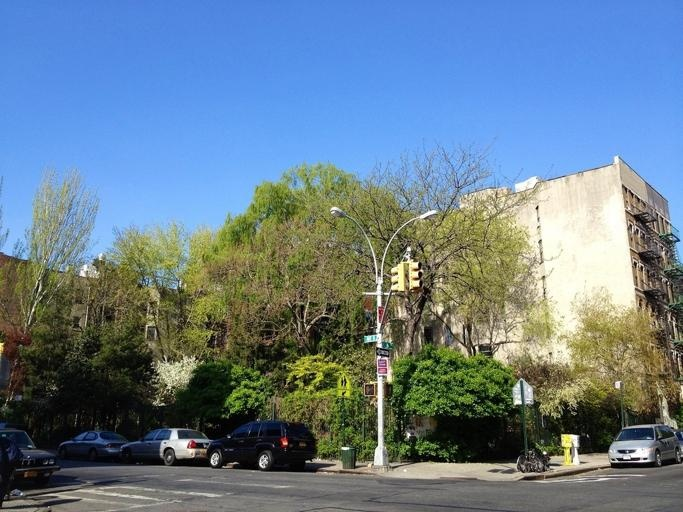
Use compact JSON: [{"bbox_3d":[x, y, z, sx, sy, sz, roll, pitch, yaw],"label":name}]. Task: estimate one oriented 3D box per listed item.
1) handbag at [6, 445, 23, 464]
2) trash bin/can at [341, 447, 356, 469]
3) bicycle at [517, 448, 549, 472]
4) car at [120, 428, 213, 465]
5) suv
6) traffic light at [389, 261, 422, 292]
[{"bbox_3d":[-9.086,5.535,14.861,0.421,0.574,0.567,8,-27,-30],"label":"handbag"},{"bbox_3d":[0.358,9.311,24.648,0.589,0.925,0.429,-3,-17,9],"label":"trash bin/can"},{"bbox_3d":[8.535,9.090,23.329,1.771,0.976,0.734,28,-52,-36],"label":"bicycle"},{"bbox_3d":[-8.899,9.970,27.916,5.489,1.819,1.444,-13,-22,32],"label":"car"},{"bbox_3d":[-3.810,8.885,25.038,4.696,2.164,1.113,-9,-19,22],"label":"suv"},{"bbox_3d":[2.700,0.776,21.512,0.502,1.320,1.739,8,-20,-26],"label":"traffic light"}]
